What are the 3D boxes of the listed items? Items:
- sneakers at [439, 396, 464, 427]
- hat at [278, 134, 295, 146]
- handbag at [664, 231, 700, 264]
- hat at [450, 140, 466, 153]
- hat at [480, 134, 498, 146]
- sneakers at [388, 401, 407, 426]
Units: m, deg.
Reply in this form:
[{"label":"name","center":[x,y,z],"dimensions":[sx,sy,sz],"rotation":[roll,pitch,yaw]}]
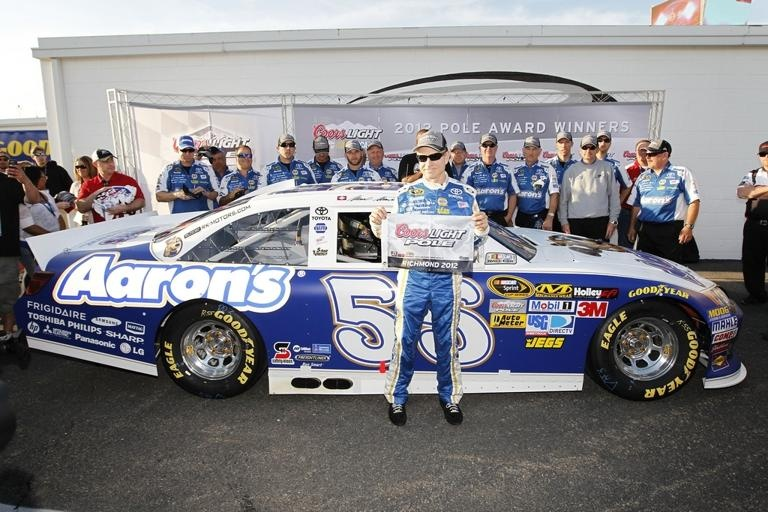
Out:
[{"label":"sneakers","center":[0.719,1.680,6.629],"dimensions":[0.251,0.205,0.219],"rotation":[-1,21,4]},{"label":"hat","center":[-1.508,-1.763,9.367],"dimensions":[0.178,0.144,0.259],"rotation":[0,12,-11]},{"label":"handbag","center":[4.528,-0.114,9.395],"dimensions":[0.543,0.624,0.372],"rotation":[-2,-3,6]},{"label":"hat","center":[1.107,-1.671,9.321],"dimensions":[0.158,0.140,0.266],"rotation":[-4,-15,17]},{"label":"hat","center":[1.550,-1.747,9.185],"dimensions":[0.207,0.159,0.300],"rotation":[0,-12,11]},{"label":"sneakers","center":[0.130,1.690,6.642],"dimensions":[0.198,0.188,0.233],"rotation":[-3,21,0]}]
